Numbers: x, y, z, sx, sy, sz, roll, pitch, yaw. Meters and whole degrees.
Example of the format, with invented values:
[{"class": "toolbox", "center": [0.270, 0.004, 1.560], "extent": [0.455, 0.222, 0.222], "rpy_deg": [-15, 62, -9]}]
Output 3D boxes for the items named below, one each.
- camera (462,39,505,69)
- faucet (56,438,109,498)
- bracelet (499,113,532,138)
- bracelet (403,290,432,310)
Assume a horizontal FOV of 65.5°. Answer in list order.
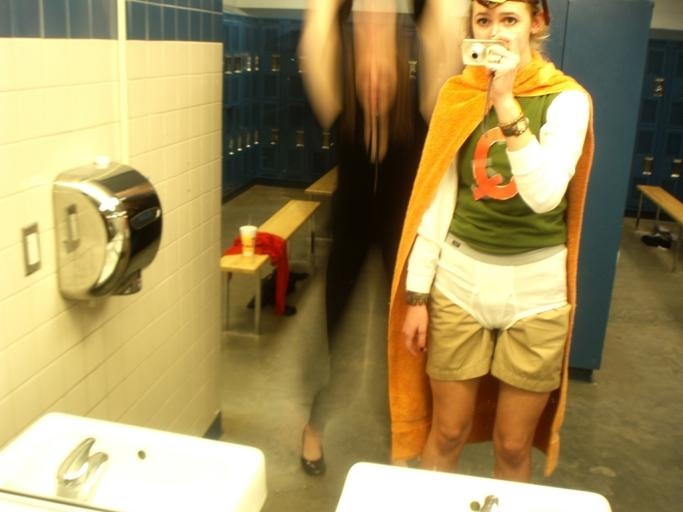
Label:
[{"class": "camera", "center": [0.306, -0.428, 1.131], "extent": [0.097, 0.067, 0.055], "rpy_deg": [1, 13, 6]}, {"class": "faucet", "center": [-0.517, 0.415, 1.079], "extent": [0.029, 0.080, 0.120], "rpy_deg": [1, 54, 48]}, {"class": "bracelet", "center": [0.381, -0.282, 1.166], "extent": [0.047, 0.028, 0.052], "rpy_deg": [-37, 22, -21]}, {"class": "bracelet", "center": [0.231, 0.126, 1.533], "extent": [0.048, 0.035, 0.056], "rpy_deg": [0, 9, -11]}]
